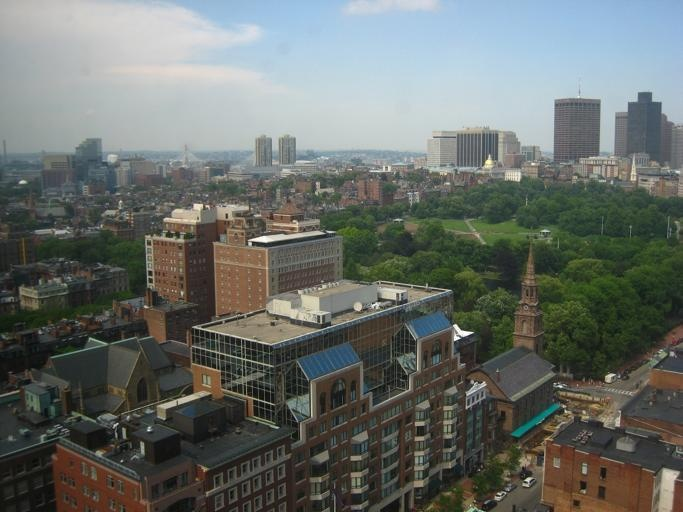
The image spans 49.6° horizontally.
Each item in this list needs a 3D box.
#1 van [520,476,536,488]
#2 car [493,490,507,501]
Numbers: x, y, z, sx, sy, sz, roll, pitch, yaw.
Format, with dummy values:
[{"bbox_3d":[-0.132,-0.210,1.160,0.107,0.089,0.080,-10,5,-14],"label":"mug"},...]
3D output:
[{"bbox_3d":[24.438,29.769,97.716,1.194,0.884,2.029,8,14,44],"label":"van"},{"bbox_3d":[20.099,30.745,95.032,0.974,0.717,2.203,8,14,44],"label":"car"}]
